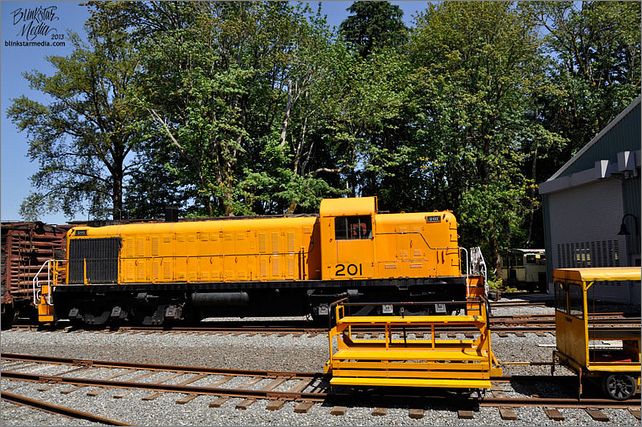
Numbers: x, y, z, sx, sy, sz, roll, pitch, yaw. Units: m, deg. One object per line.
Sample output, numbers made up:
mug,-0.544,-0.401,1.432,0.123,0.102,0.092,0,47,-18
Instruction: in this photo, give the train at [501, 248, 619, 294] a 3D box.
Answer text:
train,12.546,2.954,28.002,2.852,2.822,4.788,1,-9,-5
